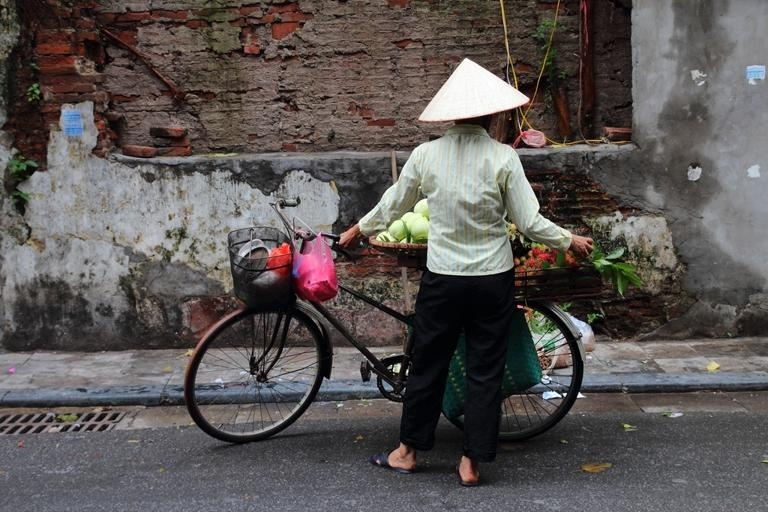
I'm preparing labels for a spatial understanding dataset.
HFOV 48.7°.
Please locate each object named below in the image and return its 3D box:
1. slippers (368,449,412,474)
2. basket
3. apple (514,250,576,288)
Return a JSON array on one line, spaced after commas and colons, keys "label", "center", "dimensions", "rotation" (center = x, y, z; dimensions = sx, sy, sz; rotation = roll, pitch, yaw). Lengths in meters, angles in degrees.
[{"label": "slippers", "center": [0.076, 1.721, 7.143], "dimensions": [0.353, 0.119, 0.155], "rotation": [11, 4, 33]}, {"label": "basket", "center": [0.897, 0.963, 7.524], "dimensions": [1.202, 0.771, 0.657], "rotation": [-24, -8, 15]}, {"label": "apple", "center": [1.382, 0.094, 7.227], "dimensions": [0.450, 0.223, 0.288], "rotation": [-12, 34, 3]}]
